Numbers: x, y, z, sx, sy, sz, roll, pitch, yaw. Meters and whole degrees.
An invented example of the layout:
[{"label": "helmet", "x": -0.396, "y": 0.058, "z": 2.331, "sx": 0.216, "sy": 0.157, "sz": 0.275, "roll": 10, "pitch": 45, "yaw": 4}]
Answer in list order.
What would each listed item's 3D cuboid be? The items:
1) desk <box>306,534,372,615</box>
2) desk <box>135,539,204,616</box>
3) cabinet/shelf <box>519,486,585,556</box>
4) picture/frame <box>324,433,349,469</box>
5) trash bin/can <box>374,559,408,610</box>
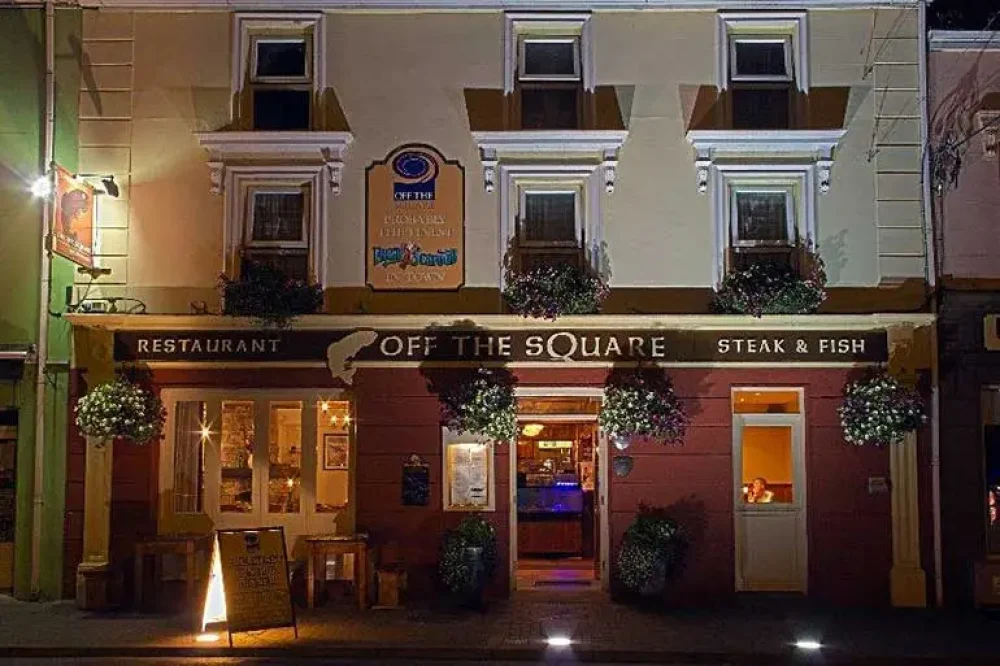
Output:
[{"label": "desk", "x": -2.949, "y": 4.373, "z": 25.224, "sx": 1.451, "sy": 1.160, "sz": 1.437, "roll": 5, "pitch": -12, "yaw": -21}, {"label": "desk", "x": -5.879, "y": 4.419, "z": 25.584, "sx": 1.612, "sy": 1.261, "sz": 1.620, "roll": 3, "pitch": -9, "yaw": -27}, {"label": "cabinet/shelf", "x": 1.044, "y": 3.792, "z": 27.897, "sx": 1.303, "sy": 1.199, "sz": 0.423, "roll": 1, "pitch": -16, "yaw": -2}, {"label": "picture/frame", "x": -3.044, "y": 2.152, "z": 25.804, "sx": 0.670, "sy": 0.816, "sz": 0.057, "roll": 0, "pitch": -4, "yaw": -7}, {"label": "trash bin/can", "x": -1.977, "y": 4.405, "z": 25.424, "sx": 0.639, "sy": 0.736, "sz": 1.224, "roll": -2, "pitch": 15, "yaw": 3}]
